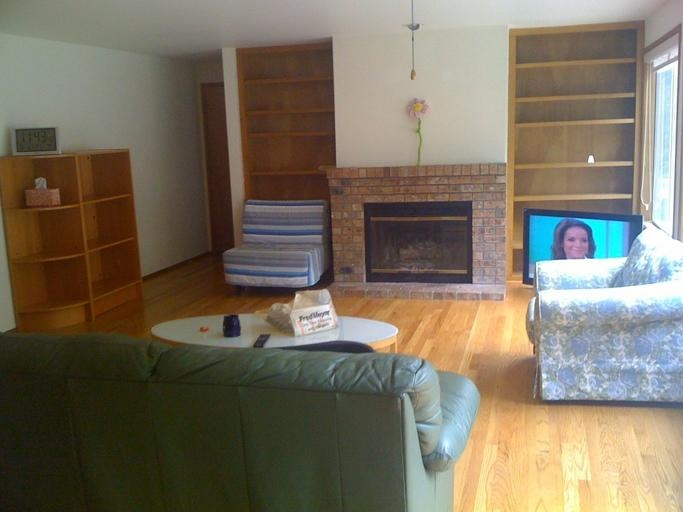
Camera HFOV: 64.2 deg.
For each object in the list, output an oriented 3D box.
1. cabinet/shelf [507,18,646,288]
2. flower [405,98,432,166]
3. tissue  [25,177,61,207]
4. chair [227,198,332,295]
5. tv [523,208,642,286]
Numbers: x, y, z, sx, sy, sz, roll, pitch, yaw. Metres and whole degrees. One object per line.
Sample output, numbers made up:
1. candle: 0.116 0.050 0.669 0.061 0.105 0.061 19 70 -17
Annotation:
1. cabinet/shelf: 2.366 -1.157 5.587 1.236 2.776 0.329 2 -17 19
2. flower: 0.802 -1.316 5.706 0.218 0.682 0.075 -2 12 1
3. tissue : -2.676 -0.574 4.877 0.293 0.288 0.156 -1 1 -33
4. chair: -0.704 -0.110 6.139 1.067 0.962 0.913 0 12 7
5. tv: 1.980 -0.089 4.493 0.058 0.532 0.725 -1 3 -40
